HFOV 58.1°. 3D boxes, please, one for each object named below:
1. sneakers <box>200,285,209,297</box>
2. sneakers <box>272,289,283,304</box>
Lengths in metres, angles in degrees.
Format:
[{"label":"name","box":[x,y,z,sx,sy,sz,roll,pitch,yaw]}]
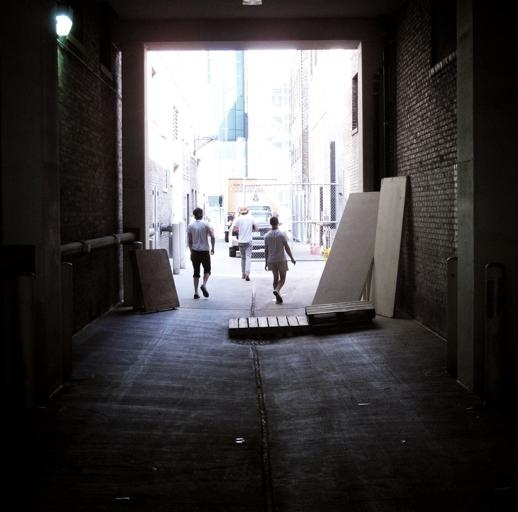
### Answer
[{"label":"sneakers","box":[-1.314,0.883,11.383,0.122,0.374,0.146,-6,28,25]},{"label":"sneakers","box":[0.438,0.957,10.818,0.113,0.433,0.144,-13,6,10]}]
